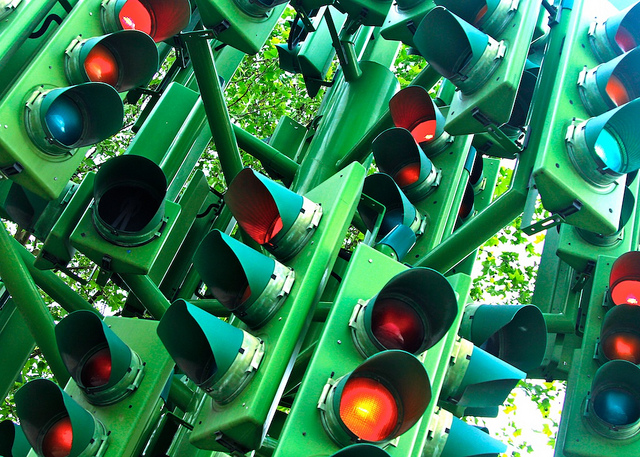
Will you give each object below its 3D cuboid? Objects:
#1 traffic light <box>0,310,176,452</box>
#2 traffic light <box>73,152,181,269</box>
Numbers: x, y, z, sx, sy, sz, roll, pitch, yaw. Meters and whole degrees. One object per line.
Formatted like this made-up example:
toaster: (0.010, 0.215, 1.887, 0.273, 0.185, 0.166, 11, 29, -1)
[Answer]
traffic light: (-1.569, 1.083, 4.431, 0.801, 1.187, 0.807, 19, -24, 6)
traffic light: (-1.519, -0.143, 4.953, 0.771, 0.877, 0.727, 13, -42, -12)
